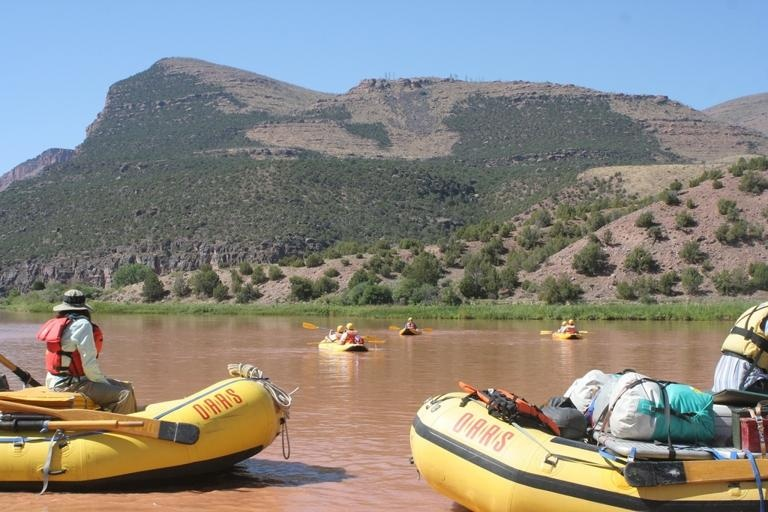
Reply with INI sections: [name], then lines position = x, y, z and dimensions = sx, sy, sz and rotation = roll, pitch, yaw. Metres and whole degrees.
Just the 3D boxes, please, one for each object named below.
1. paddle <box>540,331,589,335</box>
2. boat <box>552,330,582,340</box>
[paddle]
position = 16.857, 6.948, 110.525
dimensions = 4.135, 0.186, 0.422
rotation = 1, 16, -18
[boat]
position = 16.685, 7.101, 108.458
dimensions = 2.593, 0.744, 1.643
rotation = -4, -5, 12
